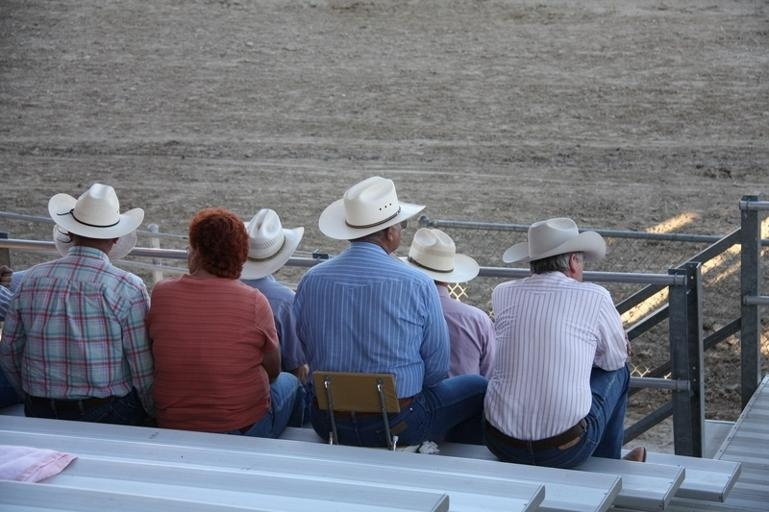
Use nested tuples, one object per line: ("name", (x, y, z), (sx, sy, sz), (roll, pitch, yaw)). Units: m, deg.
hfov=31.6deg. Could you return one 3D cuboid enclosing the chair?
("chair", (-0.351, 2.365, 19.702), (1.167, 1.241, 1.043), (2, -7, -11))
